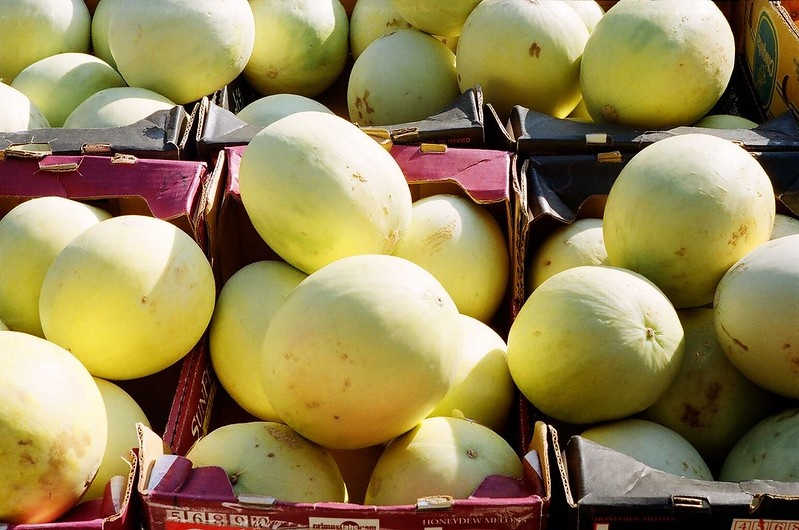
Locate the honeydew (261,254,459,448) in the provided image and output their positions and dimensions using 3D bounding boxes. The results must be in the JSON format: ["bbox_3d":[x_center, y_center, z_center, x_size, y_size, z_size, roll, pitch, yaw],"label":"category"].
[{"bbox_3d":[-0.035,0.245,2.301,0.539,0.496,0.510,-15,86,21],"label":"honeydew"}]
